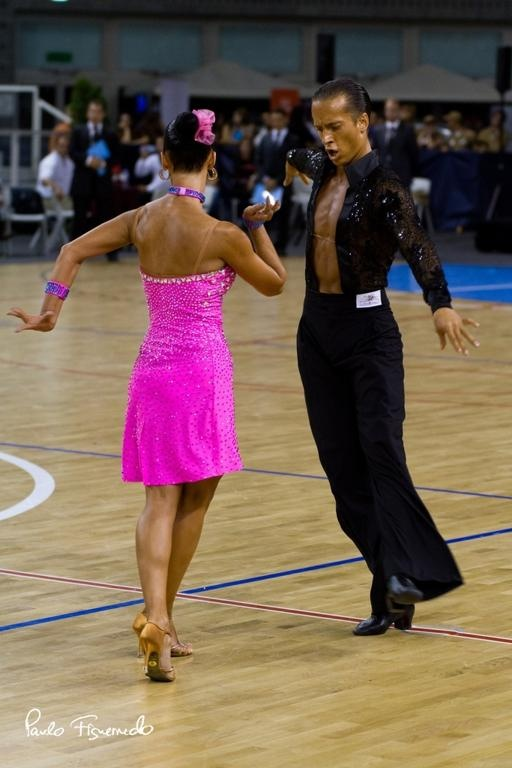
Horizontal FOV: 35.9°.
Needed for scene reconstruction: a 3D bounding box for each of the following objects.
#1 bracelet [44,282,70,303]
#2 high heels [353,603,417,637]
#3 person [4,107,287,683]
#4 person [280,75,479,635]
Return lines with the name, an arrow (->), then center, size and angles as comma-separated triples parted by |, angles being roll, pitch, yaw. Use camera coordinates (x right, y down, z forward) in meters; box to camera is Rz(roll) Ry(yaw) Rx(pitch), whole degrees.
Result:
bracelet -> -0.607, -0.282, 2.389 | 0.081, 0.046, 0.074 | 19, 1, 0
high heels -> 0.428, 0.780, 2.637 | 0.267, 0.104, 0.082 | -2, 3, -22
person -> -0.265, -0.001, 2.272 | 0.591, 1.611, 0.532 | 3, 2, 35
person -> 0.389, -0.078, 2.540 | 0.461, 1.806, 0.725 | 1, 2, -27
